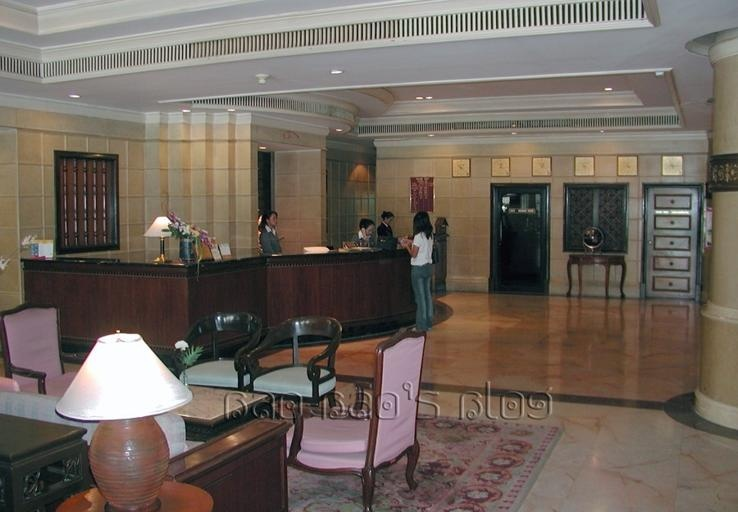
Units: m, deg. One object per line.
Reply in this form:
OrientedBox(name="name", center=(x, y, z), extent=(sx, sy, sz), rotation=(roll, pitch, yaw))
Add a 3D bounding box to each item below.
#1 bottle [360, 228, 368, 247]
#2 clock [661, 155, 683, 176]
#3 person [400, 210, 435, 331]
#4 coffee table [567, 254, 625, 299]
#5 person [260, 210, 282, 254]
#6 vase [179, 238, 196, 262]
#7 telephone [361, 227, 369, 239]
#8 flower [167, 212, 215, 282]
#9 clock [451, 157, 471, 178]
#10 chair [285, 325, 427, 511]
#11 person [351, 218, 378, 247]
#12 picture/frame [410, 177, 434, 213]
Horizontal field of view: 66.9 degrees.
OrientedBox(name="bottle", center=(-0.099, -0.352, 10.539), extent=(0.110, 0.282, 0.216), rotation=(10, -11, -40))
OrientedBox(name="clock", center=(6.855, -2.070, 12.594), extent=(0.550, 0.510, 0.056), rotation=(0, -1, 12))
OrientedBox(name="person", center=(0.862, 0.283, 9.130), extent=(0.337, 2.026, 0.521), rotation=(0, 7, 5))
OrientedBox(name="coffee table", center=(5.291, 0.433, 13.027), extent=(1.319, 1.038, 0.567), rotation=(2, 8, 19))
OrientedBox(name="person", center=(-1.706, -0.417, 9.512), extent=(0.335, 0.696, 1.320), rotation=(-2, 7, -11))
OrientedBox(name="vase", center=(-2.489, -0.093, 7.642), extent=(0.194, 0.321, 0.174), rotation=(-2, 7, -14))
OrientedBox(name="telephone", center=(-0.072, -0.443, 10.485), extent=(0.183, 0.242, 0.151), rotation=(-1, 4, 3))
OrientedBox(name="flower", center=(-2.466, -0.193, 7.764), extent=(0.614, 0.824, 0.703), rotation=(-2, 7, -16))
OrientedBox(name="clock", center=(2.299, -2.244, 13.904), extent=(0.564, 0.477, 0.182), rotation=(3, 9, 19))
OrientedBox(name="chair", center=(-0.100, 1.186, 4.276), extent=(0.973, 1.324, 0.580), rotation=(1, 7, 10))
OrientedBox(name="person", center=(-0.116, -0.510, 11.736), extent=(0.508, 0.752, 0.880), rotation=(0, 8, 16))
OrientedBox(name="picture/frame", center=(1.346, -1.593, 14.274), extent=(0.618, 0.882, 0.129), rotation=(1, 7, 7))
